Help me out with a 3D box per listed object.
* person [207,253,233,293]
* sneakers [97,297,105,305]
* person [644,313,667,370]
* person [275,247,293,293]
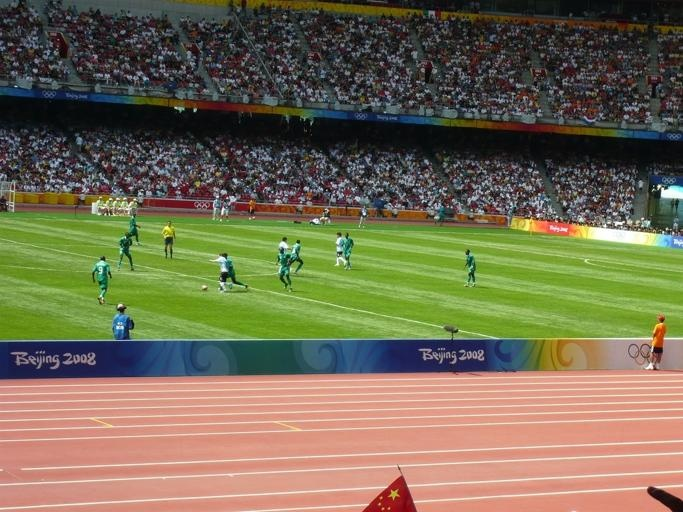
[{"bbox_3d":[-4.889,0.750,38.915,1.063,1.536,0.506,-15,34,-28],"label":"person"},{"bbox_3d":[-8.355,1.530,33.787,0.228,0.274,0.512,1,9,-15],"label":"sneakers"},{"bbox_3d":[9.951,2.737,30.689,0.471,1.881,1.152,6,9,19],"label":"person"},{"bbox_3d":[-2.257,0.464,38.740,0.581,1.626,1.663,3,9,-4],"label":"person"}]
